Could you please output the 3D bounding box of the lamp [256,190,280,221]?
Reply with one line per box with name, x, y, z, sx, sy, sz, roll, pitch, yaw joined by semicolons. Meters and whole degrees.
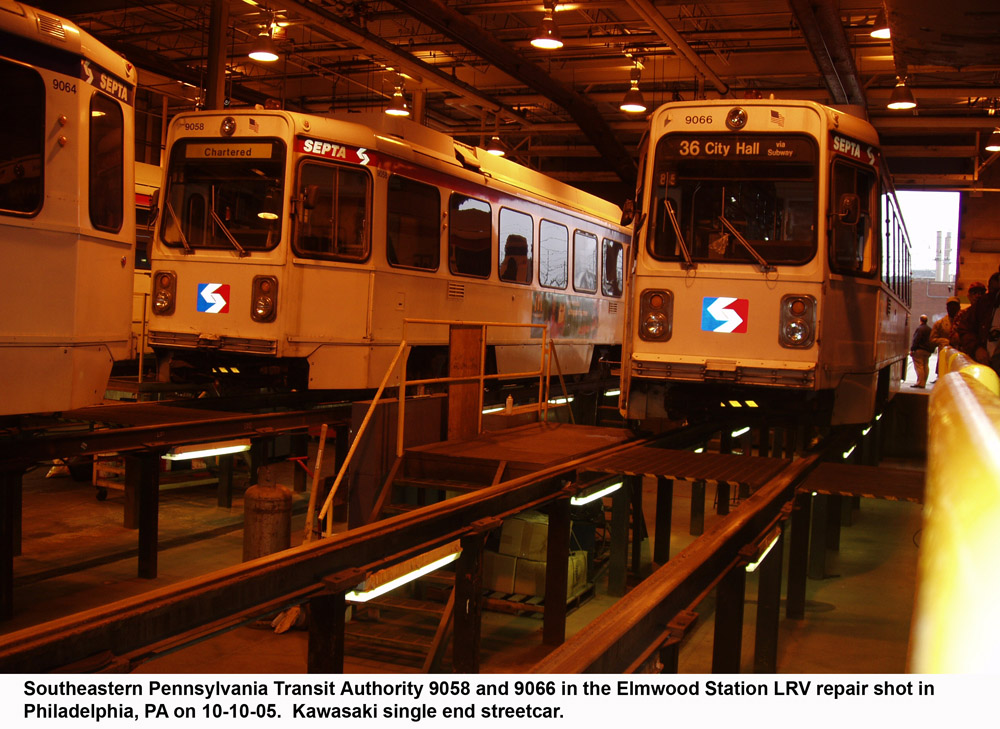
lamp;-2.948;-2.012;10.508;0.214;0.392;0.084;11;-1;13
